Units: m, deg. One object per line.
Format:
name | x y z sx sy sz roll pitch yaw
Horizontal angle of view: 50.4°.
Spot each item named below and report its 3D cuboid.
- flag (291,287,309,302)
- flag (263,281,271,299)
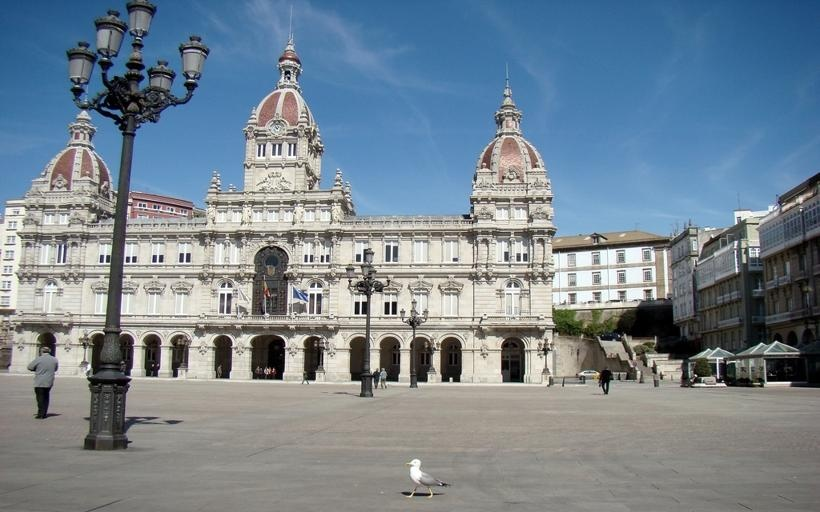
flag | -10.982 3.817 86.193 1.606 1.548 0.233 10 -36 -11
flag | -14.403 3.266 87.921 0.714 1.631 2.137 2 -13 -10
